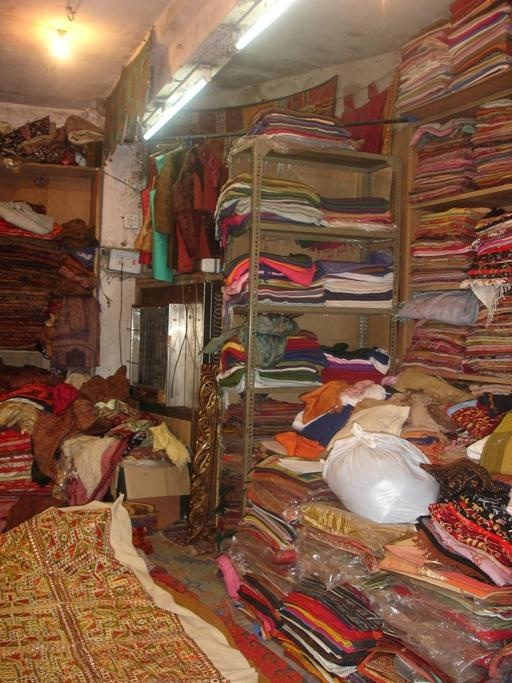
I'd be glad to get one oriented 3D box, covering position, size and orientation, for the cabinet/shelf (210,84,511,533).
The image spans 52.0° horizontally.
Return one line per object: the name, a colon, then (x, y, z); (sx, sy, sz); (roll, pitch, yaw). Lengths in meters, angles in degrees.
cabinet/shelf: (0.301, -0.094, 2.644); (1.076, 2.154, 0.830); (7, -5, -6)
